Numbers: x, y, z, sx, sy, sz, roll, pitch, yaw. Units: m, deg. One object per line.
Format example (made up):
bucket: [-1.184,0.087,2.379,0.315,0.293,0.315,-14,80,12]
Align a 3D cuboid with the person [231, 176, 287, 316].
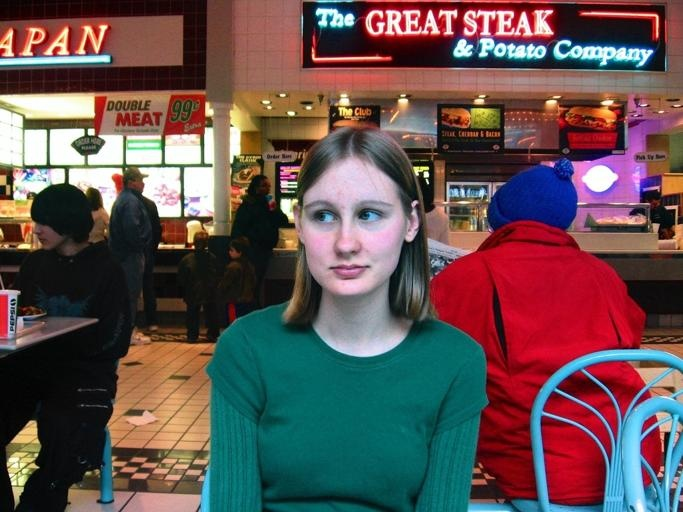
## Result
person: [-0.834,-0.100,7.440,0.602,1.418,0.474,-6,9,-24]
